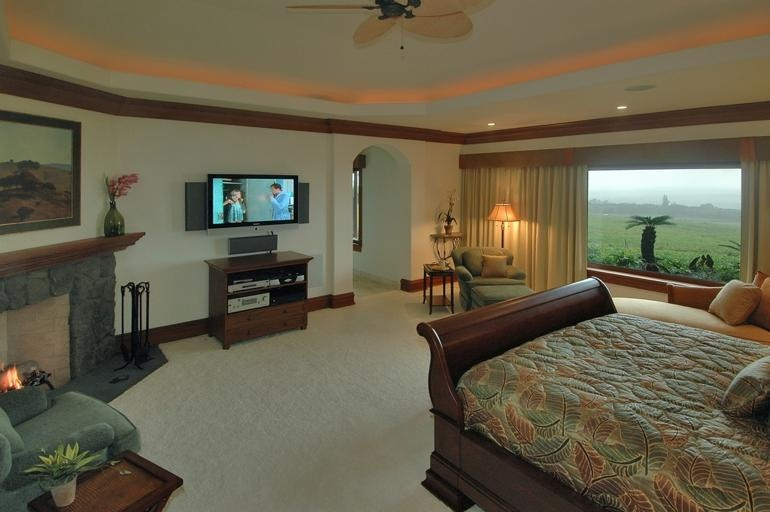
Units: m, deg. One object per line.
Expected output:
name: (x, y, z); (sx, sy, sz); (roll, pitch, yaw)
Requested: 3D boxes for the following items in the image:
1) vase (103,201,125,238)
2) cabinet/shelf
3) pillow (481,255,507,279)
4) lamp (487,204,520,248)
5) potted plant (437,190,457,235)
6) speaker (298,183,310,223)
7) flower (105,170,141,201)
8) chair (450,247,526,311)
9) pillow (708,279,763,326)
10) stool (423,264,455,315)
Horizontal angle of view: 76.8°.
vase: (-3.049, -0.432, 5.423); (0.186, 0.419, 0.206); (-2, 9, -15)
cabinet/shelf: (-1.625, 0.539, 6.287); (1.161, 1.037, 0.559); (-6, 11, -34)
pillow: (1.615, 0.174, 7.192); (0.364, 0.308, 0.136); (2, -3, 3)
lamp: (1.961, -0.490, 8.020); (0.460, 0.734, 0.556); (4, 10, 23)
potted plant: (1.150, -0.747, 8.585); (0.281, 0.743, 0.537); (7, 11, 39)
speaker: (-1.174, -0.749, 6.945); (0.236, 0.593, 0.092); (-7, 11, -38)
flower: (-3.001, -0.793, 5.539); (0.348, 0.298, 0.302); (-4, 9, -24)
chair: (1.530, 0.323, 7.217); (1.027, 0.741, 1.162); (0, 10, -1)
pillow: (3.792, 0.501, 5.243); (0.343, 0.416, 0.639); (-2, 9, 19)
stool: (0.992, 0.503, 7.716); (0.395, 0.647, 0.850); (11, 1, 20)
